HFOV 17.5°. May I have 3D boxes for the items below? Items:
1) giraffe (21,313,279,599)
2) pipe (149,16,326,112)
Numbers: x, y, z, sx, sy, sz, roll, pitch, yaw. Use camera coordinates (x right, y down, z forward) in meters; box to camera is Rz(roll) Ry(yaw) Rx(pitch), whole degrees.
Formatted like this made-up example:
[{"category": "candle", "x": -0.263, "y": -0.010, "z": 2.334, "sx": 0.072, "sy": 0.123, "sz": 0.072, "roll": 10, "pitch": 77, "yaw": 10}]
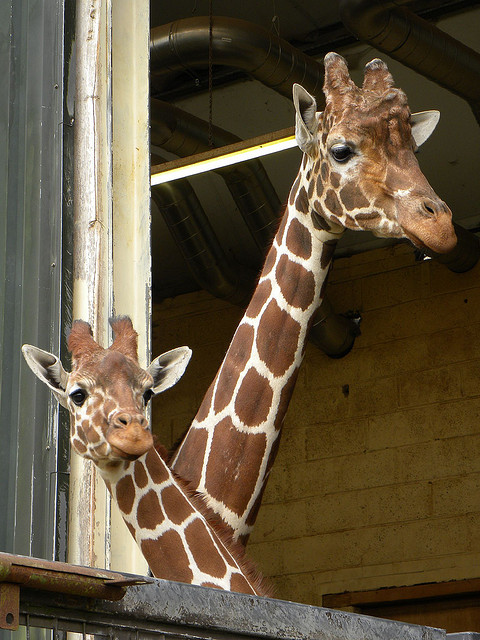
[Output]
[{"category": "giraffe", "x": -0.233, "y": 0.383, "z": 4.217, "sx": 0.461, "sy": 0.751, "sz": 0.573, "roll": -15, "pitch": 19, "yaw": -31}, {"category": "pipe", "x": 0.007, "y": -1.360, "z": 8.234, "sx": 0.811, "sy": 0.196, "sz": 0.805, "roll": 19, "pitch": -18, "yaw": -35}]
